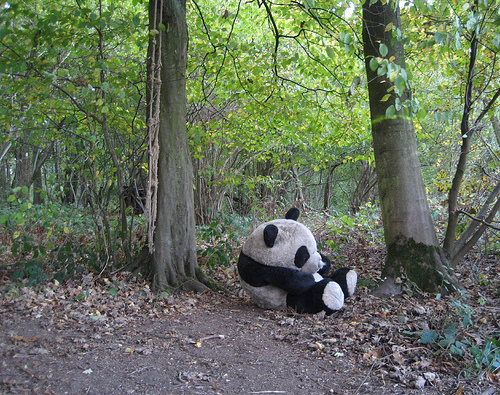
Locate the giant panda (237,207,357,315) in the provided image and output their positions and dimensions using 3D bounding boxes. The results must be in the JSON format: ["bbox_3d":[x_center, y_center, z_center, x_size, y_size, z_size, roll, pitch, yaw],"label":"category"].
[{"bbox_3d":[0.688,0.872,5.933,1.275,1.279,1.011,0,-1,19],"label":"giant panda"}]
